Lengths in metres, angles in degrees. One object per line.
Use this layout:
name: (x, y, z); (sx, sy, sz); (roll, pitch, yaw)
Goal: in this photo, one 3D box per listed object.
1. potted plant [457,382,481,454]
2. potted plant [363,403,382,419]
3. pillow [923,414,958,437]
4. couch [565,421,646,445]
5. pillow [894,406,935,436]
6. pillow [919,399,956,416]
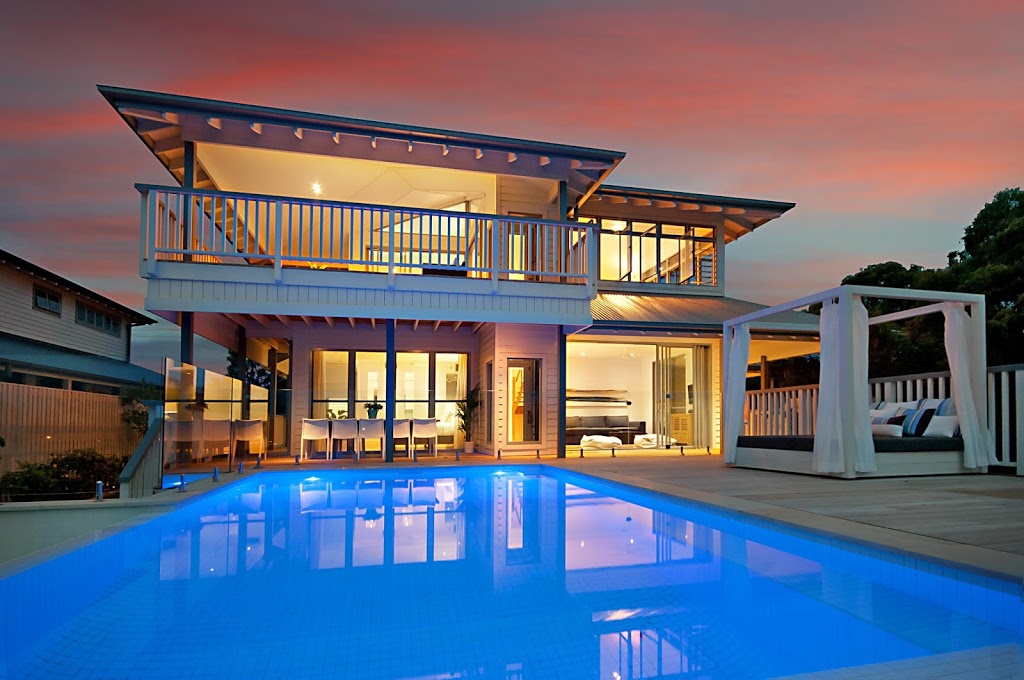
potted plant: (-1.096, 1.976, 22.192); (0.642, 1.548, 1.142); (-2, 6, -4)
potted plant: (-3.636, 1.822, 22.393); (0.375, 0.450, 0.397); (-6, -9, 25)
pillow: (8.548, 1.697, 16.972); (0.607, 0.382, 0.263); (1, 7, 26)
couch: (2.911, 2.783, 25.822); (2.999, 0.485, 1.359); (-4, 6, -24)
pillow: (8.187, 1.650, 17.323); (0.210, 0.538, 0.736); (16, -7, -5)
pillow: (8.609, 1.312, 17.241); (0.596, 0.332, 0.379); (1, 6, 25)
